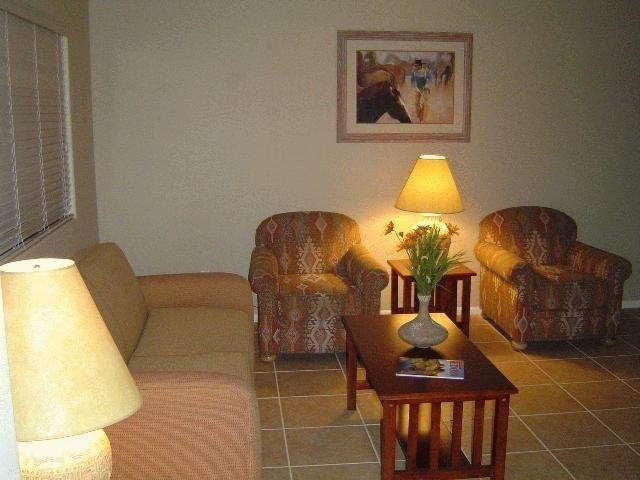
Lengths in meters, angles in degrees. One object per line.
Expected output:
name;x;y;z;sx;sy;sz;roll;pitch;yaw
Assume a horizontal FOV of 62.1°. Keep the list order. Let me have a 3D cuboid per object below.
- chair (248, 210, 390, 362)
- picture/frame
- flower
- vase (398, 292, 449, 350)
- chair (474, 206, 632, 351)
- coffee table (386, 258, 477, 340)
chair;-0.073;0.367;4.762;1.226;1.157;1.156;0;5;-6
picture/frame;0.749;-1.492;4.971;1.067;0.817;0.023;0;7;-10
flower;0.664;0.073;3.221;0.366;0.351;0.274;-10;10;9
vase;0.634;0.484;3.211;0.313;0.297;0.311;-2;15;18
chair;2.050;0.304;4.857;1.079;1.166;0.916;0;10;-6
coffee table;1.026;0.464;4.840;0.735;0.702;0.732;-1;7;-5
